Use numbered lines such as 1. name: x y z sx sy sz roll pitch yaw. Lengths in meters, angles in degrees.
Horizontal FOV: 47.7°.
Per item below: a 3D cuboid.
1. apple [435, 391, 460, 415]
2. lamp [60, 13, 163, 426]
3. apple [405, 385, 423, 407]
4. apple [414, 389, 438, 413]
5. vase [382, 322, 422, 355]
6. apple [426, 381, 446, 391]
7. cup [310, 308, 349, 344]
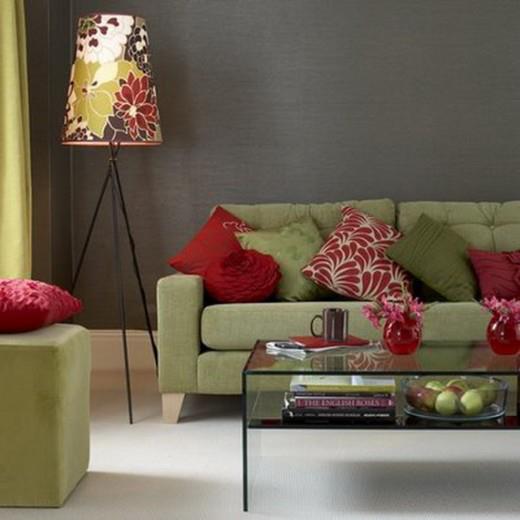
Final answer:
1. apple: 0.543 0.413 1.709 0.060 0.063 0.043 -2 3 -31
2. lamp: -0.742 -0.288 2.950 0.492 1.937 0.986 -1 3 -11
3. apple: 0.456 0.399 1.739 0.055 0.053 0.052 -2 7 -6
4. apple: 0.484 0.407 1.716 0.057 0.049 0.072 0 -6 11
5. vase: 0.460 0.231 1.905 0.120 0.138 0.117 -2 8 3
6. apple: 0.529 0.371 1.772 0.035 0.018 0.040 1 -1 -6
7. cup: 0.223 0.213 1.977 0.137 0.113 0.083 -2 1 3
